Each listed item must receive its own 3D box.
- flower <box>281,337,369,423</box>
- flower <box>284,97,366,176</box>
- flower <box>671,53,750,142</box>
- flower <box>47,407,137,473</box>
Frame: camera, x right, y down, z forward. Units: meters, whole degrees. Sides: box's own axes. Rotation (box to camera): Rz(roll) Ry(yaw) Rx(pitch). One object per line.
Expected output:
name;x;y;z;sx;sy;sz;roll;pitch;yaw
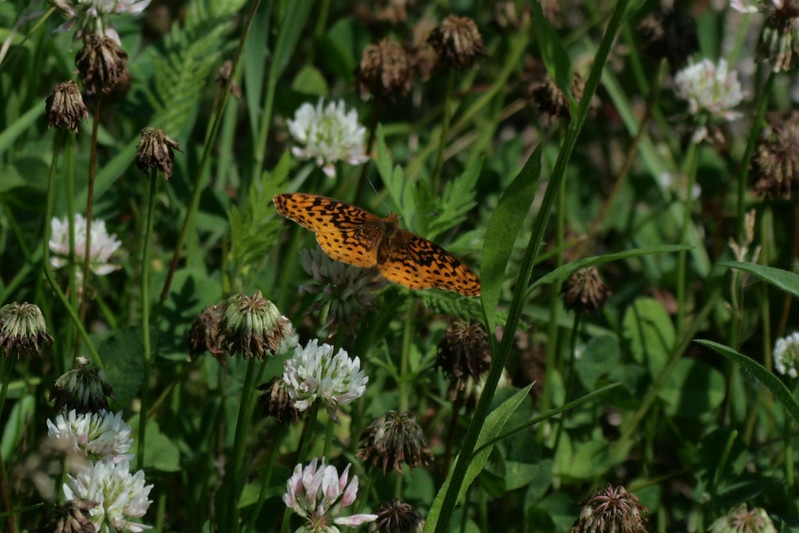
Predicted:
flower;-0.212;0.316;2.602;0.167;0.197;0.188;-3;-6;21
flower;-0.225;-0.418;2.987;0.213;0.144;0.255;-7;44;-32
flower;0.981;-0.536;2.982;0.164;0.238;0.195;8;24;38
flower;-0.864;0.478;2.576;0.126;0.073;0.126;20;-6;38
